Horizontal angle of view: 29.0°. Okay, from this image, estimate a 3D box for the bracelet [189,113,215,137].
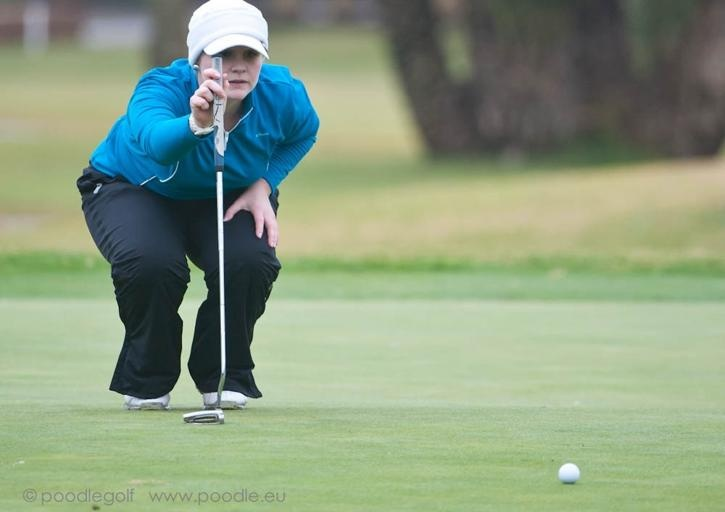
[{"bbox_3d":[-0.683,-0.552,5.904,0.087,0.090,0.051,-5,2,-11],"label":"bracelet"}]

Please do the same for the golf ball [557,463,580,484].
[{"bbox_3d":[0.797,0.842,5.465,0.078,0.064,0.058,4,14,6],"label":"golf ball"}]
